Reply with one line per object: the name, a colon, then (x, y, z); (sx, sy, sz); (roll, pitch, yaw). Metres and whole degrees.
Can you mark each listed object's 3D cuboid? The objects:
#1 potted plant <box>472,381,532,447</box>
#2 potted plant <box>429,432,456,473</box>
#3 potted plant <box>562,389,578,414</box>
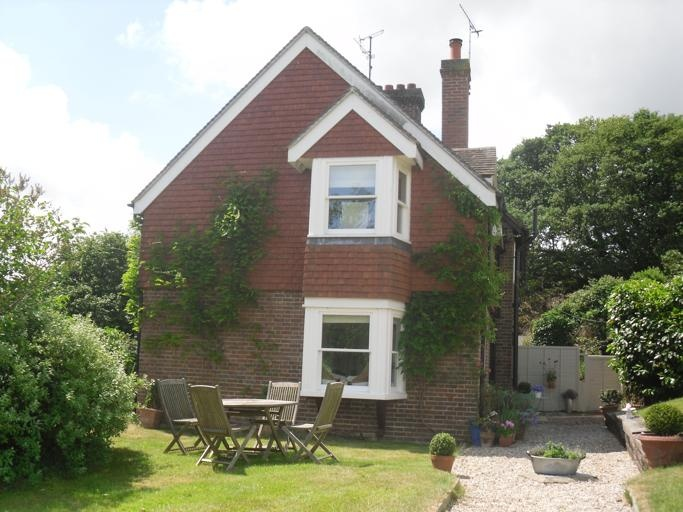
potted plant: (4.403, 4.446, 21.976); (1.595, 2.109, 1.531); (9, -13, -44)
potted plant: (2.221, 4.422, 17.785); (0.671, 0.968, 0.686); (6, -15, -29)
potted plant: (8.270, 5.255, 28.845); (0.518, 0.816, 0.549); (1, 1, 11)
